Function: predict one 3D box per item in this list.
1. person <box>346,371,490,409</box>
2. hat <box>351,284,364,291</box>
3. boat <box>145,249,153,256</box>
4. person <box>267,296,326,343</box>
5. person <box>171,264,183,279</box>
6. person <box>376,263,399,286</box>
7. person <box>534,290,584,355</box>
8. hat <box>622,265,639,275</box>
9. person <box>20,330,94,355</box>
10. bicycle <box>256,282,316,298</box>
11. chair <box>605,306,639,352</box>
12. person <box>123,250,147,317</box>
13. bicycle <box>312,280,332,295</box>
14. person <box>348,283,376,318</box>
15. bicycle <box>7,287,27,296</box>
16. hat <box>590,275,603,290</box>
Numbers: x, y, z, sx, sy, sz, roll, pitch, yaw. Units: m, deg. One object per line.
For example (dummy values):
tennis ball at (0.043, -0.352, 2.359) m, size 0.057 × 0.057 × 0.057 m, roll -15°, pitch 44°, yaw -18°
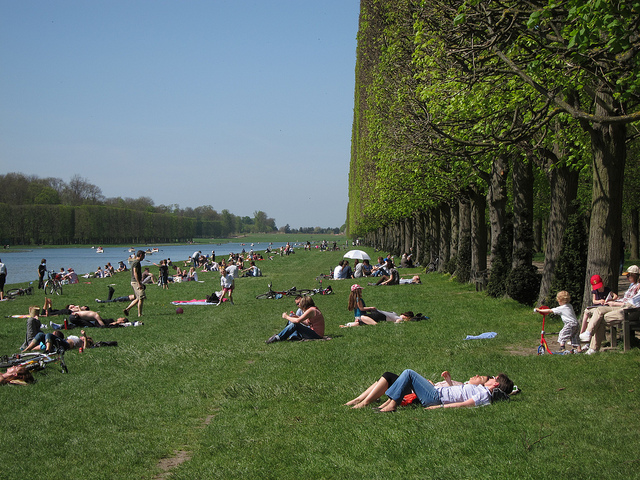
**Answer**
person at (2.280, 3.335, 17.423) m, size 3.007 × 1.112 × 0.985 m, roll 8°, pitch -8°, yaw -1°
hat at (1.194, 1.532, 24.575) m, size 0.317 × 0.124 × 0.197 m, roll -3°, pitch 3°, yaw -32°
boat at (-22.228, 1.598, 101.667) m, size 0.803 × 0.388 × 0.946 m, roll 0°, pitch 6°, yaw 28°
person at (-0.678, 2.360, 23.157) m, size 1.621 × 1.520 × 0.839 m, roll 1°, pitch -2°, yaw -8°
person at (-10.039, 2.237, 54.746) m, size 0.793 × 1.433 × 0.631 m, roll -1°, pitch -1°, yaw 5°
person at (3.337, 1.701, 37.137) m, size 1.040 × 1.157 × 0.682 m, roll 4°, pitch 1°, yaw 19°
person at (6.350, 2.056, 20.282) m, size 0.841 × 1.675 × 2.247 m, roll 0°, pitch 12°, yaw 18°
hat at (8.022, 0.766, 19.978) m, size 0.407 × 0.217 × 0.280 m, roll 1°, pitch -3°, yaw -10°
person at (-7.300, 2.937, 22.343) m, size 1.388 × 0.521 × 0.781 m, roll 1°, pitch -3°, yaw -40°
bicycle at (-1.058, 2.329, 35.100) m, size 1.599 × 0.831 × 0.986 m, roll 1°, pitch -5°, yaw 7°
chair at (7.596, 2.114, 19.194) m, size 0.835 × 1.295 × 1.244 m, roll 1°, pitch -6°, yaw 2°
person at (-6.557, 1.580, 28.112) m, size 0.684 × 2.401 × 1.005 m, roll -2°, pitch -1°, yaw 32°
bicycle at (0.162, 2.186, 34.763) m, size 0.630 × 0.439 × 0.444 m, roll 5°, pitch 0°, yaw 9°
person at (1.302, 1.945, 24.745) m, size 0.696 × 1.150 × 0.640 m, roll -2°, pitch 11°, yaw 8°
bicycle at (-14.734, 2.547, 38.025) m, size 0.743 × 0.389 × 0.436 m, roll -6°, pitch -21°, yaw -25°
hat at (7.124, 1.096, 20.170) m, size 0.219 × 0.182 × 0.348 m, roll -16°, pitch 35°, yaw 32°
